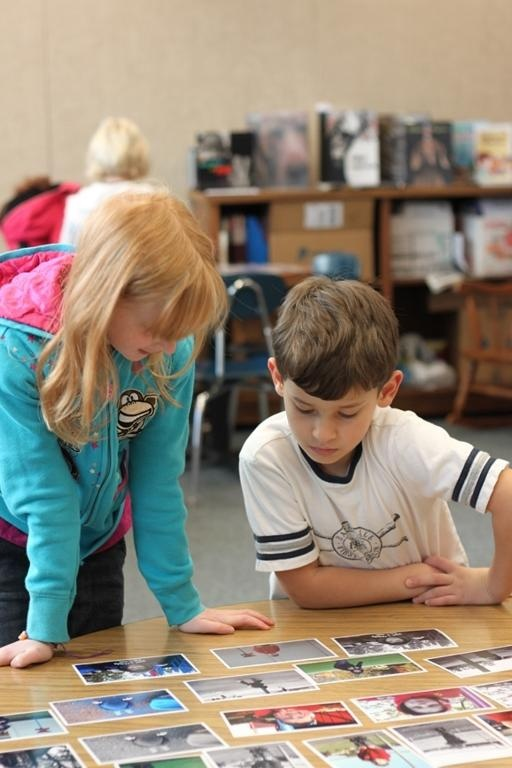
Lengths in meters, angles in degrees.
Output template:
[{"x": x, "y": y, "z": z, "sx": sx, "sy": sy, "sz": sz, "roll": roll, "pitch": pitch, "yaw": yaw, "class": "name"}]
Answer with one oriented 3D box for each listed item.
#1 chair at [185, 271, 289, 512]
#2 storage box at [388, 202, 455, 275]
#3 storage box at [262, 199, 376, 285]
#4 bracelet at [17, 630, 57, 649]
[{"x": -0.024, "y": -0.023, "z": 3.345, "sx": 0.673, "sy": 0.942, "sz": 0.639, "roll": -5, "pitch": 8, "yaw": 4, "class": "chair"}, {"x": 0.146, "y": -0.128, "z": 0.636, "sx": 0.070, "sy": 0.059, "sz": 0.065, "roll": -2, "pitch": 6, "yaw": -6, "class": "storage box"}, {"x": 0.070, "y": -0.146, "z": 0.733, "sx": 0.102, "sy": 0.084, "sz": 0.051, "roll": 1, "pitch": 15, "yaw": 15, "class": "storage box"}, {"x": -0.220, "y": 0.259, "z": 0.734, "sx": 0.015, "sy": 0.017, "sz": 0.008, "roll": 6, "pitch": -28, "yaw": 1, "class": "bracelet"}]
